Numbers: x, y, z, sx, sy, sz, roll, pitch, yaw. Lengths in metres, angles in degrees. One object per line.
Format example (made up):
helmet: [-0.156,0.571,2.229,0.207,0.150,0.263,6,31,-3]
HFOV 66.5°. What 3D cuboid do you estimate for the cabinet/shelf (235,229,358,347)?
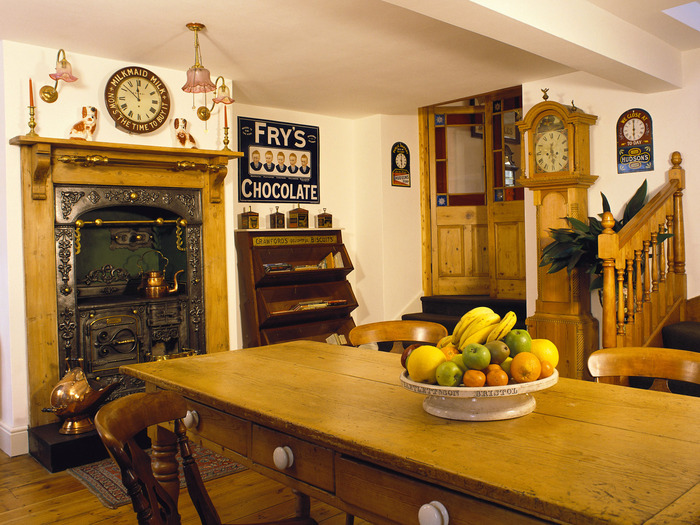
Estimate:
cabinet/shelf: [-0.685,0.314,6.345,1.548,1.797,0.714,1,-4,-44]

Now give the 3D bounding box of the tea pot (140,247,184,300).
tea pot: [-1.862,0.101,5.349,0.387,0.436,0.659,-4,4,-25]

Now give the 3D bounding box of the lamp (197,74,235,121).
lamp: [-1.284,-1.608,5.221,0.371,0.390,0.222,-2,6,25]

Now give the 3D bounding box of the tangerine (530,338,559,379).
tangerine: [0.701,0.325,1.828,0.119,0.110,0.114,-9,8,3]

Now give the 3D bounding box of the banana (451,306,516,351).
banana: [0.459,0.221,1.840,0.184,0.052,0.138,-35,17,-27]

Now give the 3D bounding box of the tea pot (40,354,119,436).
tea pot: [-2.172,1.074,4.414,0.714,0.520,0.387,-3,-2,-27]

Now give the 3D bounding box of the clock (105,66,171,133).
clock: [-1.981,-1.505,4.949,0.742,0.765,0.082,1,-6,-38]

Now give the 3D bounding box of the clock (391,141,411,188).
clock: [0.727,-1.357,7.435,0.317,0.614,0.027,-4,4,-26]
